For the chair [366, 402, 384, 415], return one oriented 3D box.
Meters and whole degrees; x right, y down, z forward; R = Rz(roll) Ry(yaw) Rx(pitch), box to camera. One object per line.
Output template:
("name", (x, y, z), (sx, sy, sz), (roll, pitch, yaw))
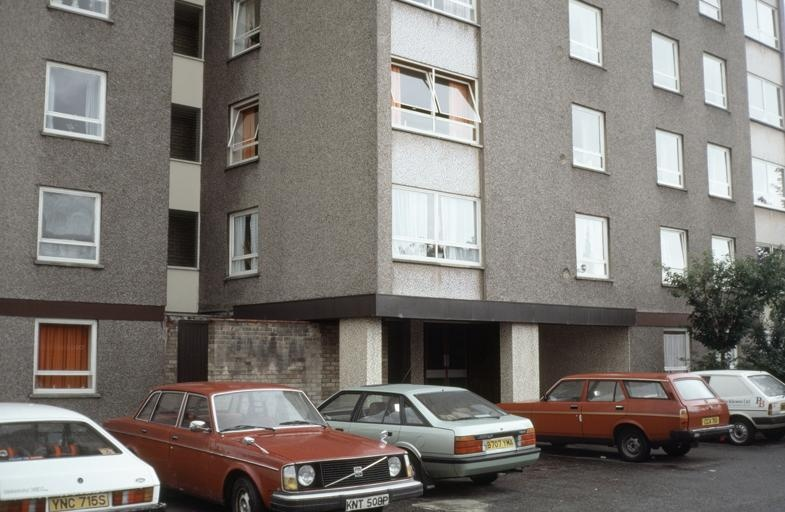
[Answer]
("chair", (-0.341, 3.046, 14.050), (0.330, 0.331, 0.229), (7, -9, -42))
